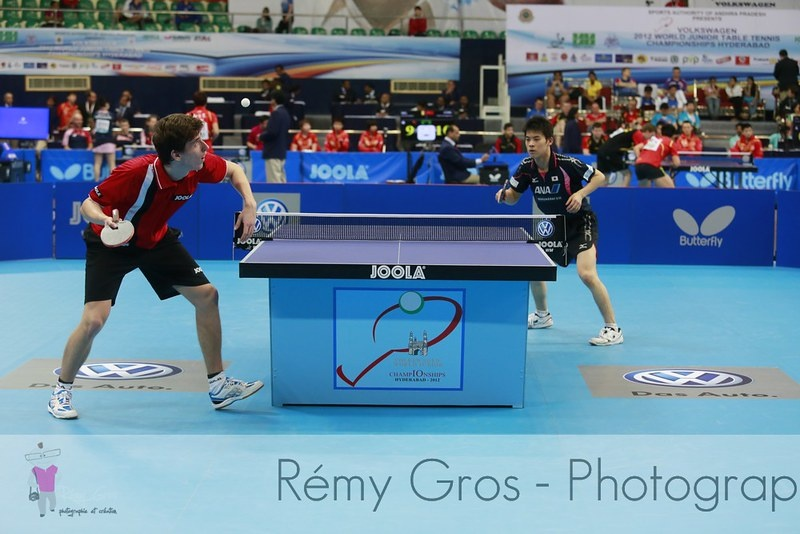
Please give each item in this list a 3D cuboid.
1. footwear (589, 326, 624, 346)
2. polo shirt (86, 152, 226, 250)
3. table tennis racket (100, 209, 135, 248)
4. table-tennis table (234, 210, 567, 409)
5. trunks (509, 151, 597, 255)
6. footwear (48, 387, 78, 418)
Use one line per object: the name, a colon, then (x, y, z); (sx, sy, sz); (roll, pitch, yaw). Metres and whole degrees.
footwear: (2.098, 0.718, 9.289); (0.371, 0.182, 0.153); (0, -2, -12)
polo shirt: (-2.021, -0.550, 7.591); (1.054, 0.768, 0.228); (-7, 16, -21)
table tennis racket: (-2.291, -0.305, 7.372); (0.254, 0.316, 0.188); (-14, 20, -39)
table-tennis table: (0.057, 0.226, 8.526); (2.757, 1.555, 2.129); (-1, 16, 3)
trunks: (1.547, -0.642, 9.283); (0.871, 1.214, 0.781); (2, 25, 19)
footwear: (-2.847, 1.120, 7.679); (0.157, 0.268, 0.437); (6, 3, -34)
